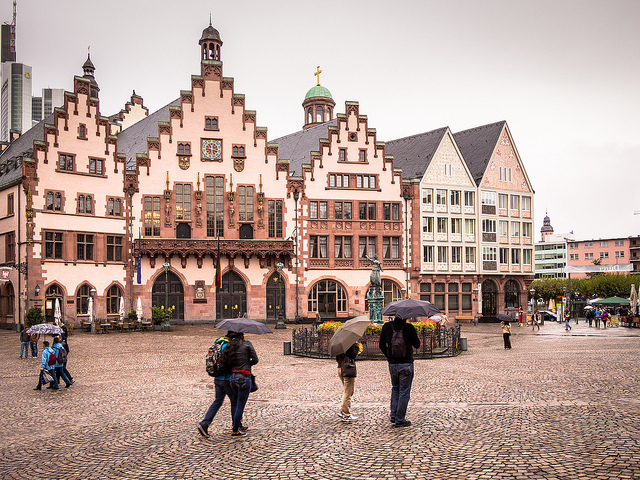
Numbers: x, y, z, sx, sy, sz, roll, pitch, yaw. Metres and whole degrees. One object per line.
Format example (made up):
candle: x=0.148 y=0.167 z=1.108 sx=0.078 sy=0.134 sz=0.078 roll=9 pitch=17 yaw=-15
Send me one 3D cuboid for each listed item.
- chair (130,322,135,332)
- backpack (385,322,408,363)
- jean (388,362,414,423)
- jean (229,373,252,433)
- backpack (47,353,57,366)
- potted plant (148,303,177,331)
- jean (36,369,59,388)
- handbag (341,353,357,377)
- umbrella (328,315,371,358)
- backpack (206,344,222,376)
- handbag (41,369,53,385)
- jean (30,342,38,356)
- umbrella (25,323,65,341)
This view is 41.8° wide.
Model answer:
chair: x=-12.489 y=5.741 z=55.602 sx=0.367 sy=0.677 sz=0.365 roll=0 pitch=-2 yaw=0
backpack: x=2.288 y=3.049 z=24.677 sx=0.554 sy=1.122 sz=0.293 roll=-1 pitch=-6 yaw=7
jean: x=2.404 y=4.531 z=24.692 sx=0.646 sy=1.747 sz=0.538 roll=-1 pitch=-6 yaw=5
jean: x=-2.263 y=4.681 z=23.955 sx=0.631 sy=1.707 sz=0.704 roll=0 pitch=-6 yaw=0
backpack: x=-9.703 y=4.366 z=30.260 sx=0.279 sy=0.411 sz=0.257 roll=2 pitch=-7 yaw=-21
potted plant: x=-10.990 y=5.103 z=56.866 sx=2.068 sy=2.132 sz=1.823 roll=0 pitch=-8 yaw=-6
jean: x=-9.884 y=5.066 z=30.434 sx=0.694 sy=0.664 sz=0.414 roll=2 pitch=-7 yaw=-17
handbag: x=0.817 y=3.840 z=25.357 sx=0.587 sy=1.059 sz=0.818 roll=-1 pitch=-7 yaw=2
umbrella: x=0.852 y=2.932 z=25.351 sx=1.175 sy=1.178 sz=0.744 roll=1 pitch=-7 yaw=-12
backpack: x=-2.994 y=3.436 z=23.801 sx=0.415 sy=0.887 sz=0.266 roll=0 pitch=-6 yaw=-4
handbag: x=-9.921 y=4.966 z=30.353 sx=0.509 sy=0.693 sz=0.359 roll=-6 pitch=-16 yaw=-5
jean: x=-13.558 y=5.189 z=39.545 sx=0.314 sy=0.630 sz=0.795 roll=1 pitch=-7 yaw=-16
umbrella: x=-10.752 y=3.520 z=32.690 sx=0.956 sy=0.593 sz=0.958 roll=-3 pitch=-7 yaw=14
